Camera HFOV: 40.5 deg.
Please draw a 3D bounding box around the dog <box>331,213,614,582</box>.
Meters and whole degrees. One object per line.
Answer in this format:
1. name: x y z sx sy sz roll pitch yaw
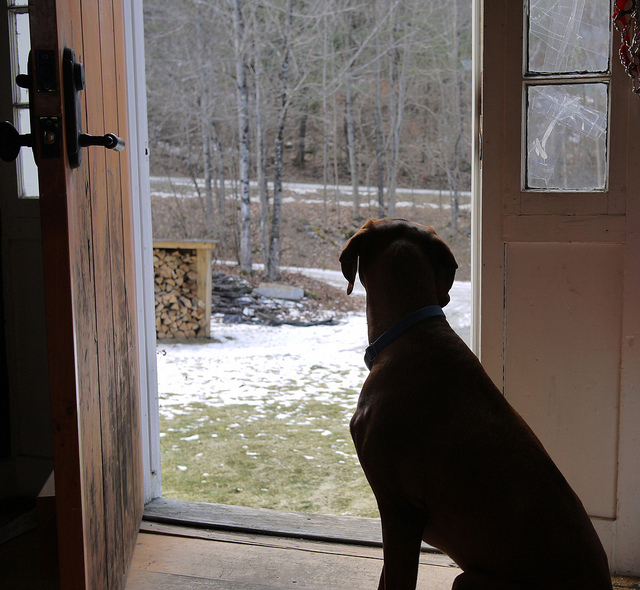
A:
1. dog: 0.357 0.308 2.330 0.466 1.021 0.763 -4 6 -30
